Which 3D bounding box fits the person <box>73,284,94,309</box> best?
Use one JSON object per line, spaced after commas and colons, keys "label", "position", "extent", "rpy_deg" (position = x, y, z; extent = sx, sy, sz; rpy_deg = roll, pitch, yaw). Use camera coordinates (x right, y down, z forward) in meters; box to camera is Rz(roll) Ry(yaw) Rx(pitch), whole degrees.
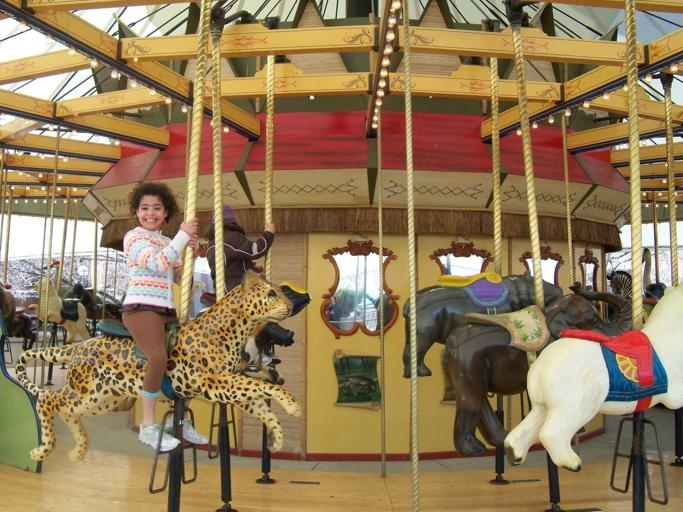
{"label": "person", "position": [-5.514, 0.861, 16.381], "extent": [0.354, 0.497, 0.845], "rpy_deg": [2, -6, -12]}

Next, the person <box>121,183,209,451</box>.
{"label": "person", "position": [-1.651, 0.511, 6.893], "extent": [0.645, 2.424, 0.478], "rpy_deg": [2, -6, -10]}

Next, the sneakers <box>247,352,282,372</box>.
{"label": "sneakers", "position": [-0.858, 1.160, 8.329], "extent": [0.308, 0.142, 0.195], "rpy_deg": [0, 0, -12]}

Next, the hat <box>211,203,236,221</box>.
{"label": "hat", "position": [-1.264, -0.473, 8.377], "extent": [0.162, 0.171, 0.174], "rpy_deg": [-10, 13, -39]}

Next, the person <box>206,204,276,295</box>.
{"label": "person", "position": [-1.082, -0.111, 8.198], "extent": [0.674, 0.962, 0.928], "rpy_deg": [2, -6, -12]}
